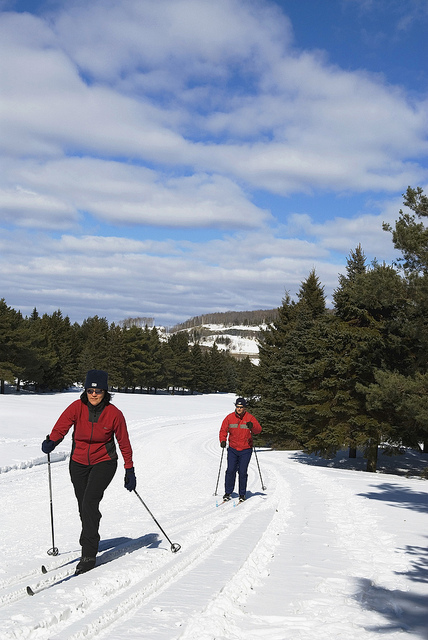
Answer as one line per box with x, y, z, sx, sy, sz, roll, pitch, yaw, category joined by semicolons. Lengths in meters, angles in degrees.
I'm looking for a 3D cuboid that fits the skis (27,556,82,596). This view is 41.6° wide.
-1.527;2.398;5.327;0.188;0.106;0.721;1;-3;31;skis
